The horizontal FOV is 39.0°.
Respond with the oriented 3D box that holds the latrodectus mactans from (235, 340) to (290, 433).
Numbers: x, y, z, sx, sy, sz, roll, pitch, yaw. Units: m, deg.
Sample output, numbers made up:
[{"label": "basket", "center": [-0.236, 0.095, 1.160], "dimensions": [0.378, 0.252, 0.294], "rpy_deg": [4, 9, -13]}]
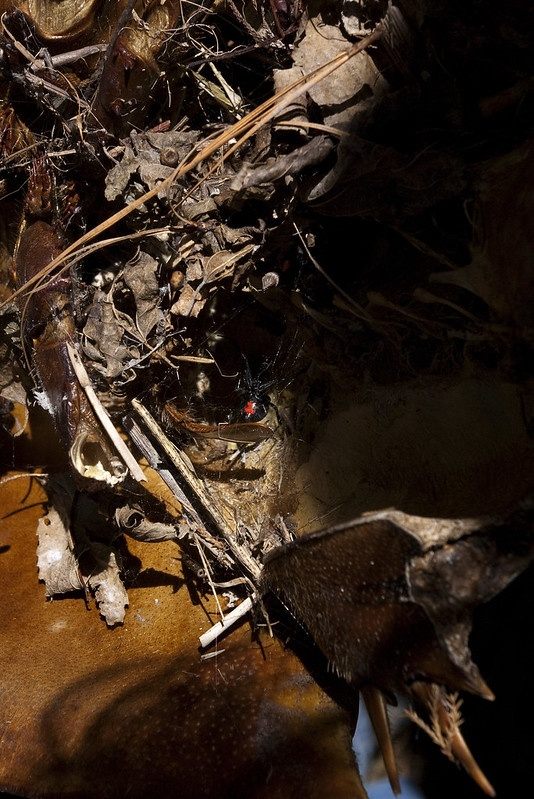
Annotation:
[{"label": "latrodectus mactans", "center": [-0.011, -0.016, 3.146], "dimensions": [0.191, 0.295, 0.243], "rpy_deg": [-11, 34, 16]}]
